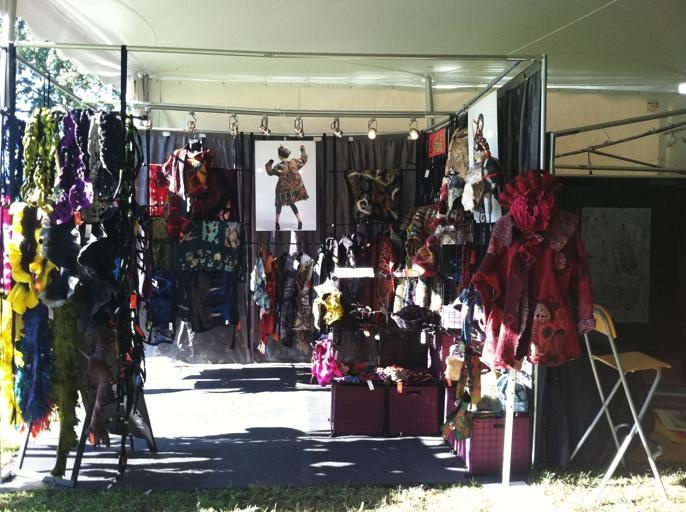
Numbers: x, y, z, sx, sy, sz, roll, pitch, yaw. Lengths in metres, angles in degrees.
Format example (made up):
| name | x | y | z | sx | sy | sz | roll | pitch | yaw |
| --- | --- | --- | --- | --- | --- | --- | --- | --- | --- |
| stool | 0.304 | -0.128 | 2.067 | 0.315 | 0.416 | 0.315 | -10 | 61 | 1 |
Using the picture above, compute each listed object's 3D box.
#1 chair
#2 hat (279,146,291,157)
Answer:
| name | x | y | z | sx | sy | sz | roll | pitch | yaw |
| --- | --- | --- | --- | --- | --- | --- | --- | --- | --- |
| chair | 2.377 | 1.121 | 6.042 | 0.761 | 1.555 | 0.977 | 5 | 12 | 25 |
| hat | -0.672 | -1.188 | 8.228 | 0.108 | 0.097 | 0.100 | -11 | -3 | 31 |
